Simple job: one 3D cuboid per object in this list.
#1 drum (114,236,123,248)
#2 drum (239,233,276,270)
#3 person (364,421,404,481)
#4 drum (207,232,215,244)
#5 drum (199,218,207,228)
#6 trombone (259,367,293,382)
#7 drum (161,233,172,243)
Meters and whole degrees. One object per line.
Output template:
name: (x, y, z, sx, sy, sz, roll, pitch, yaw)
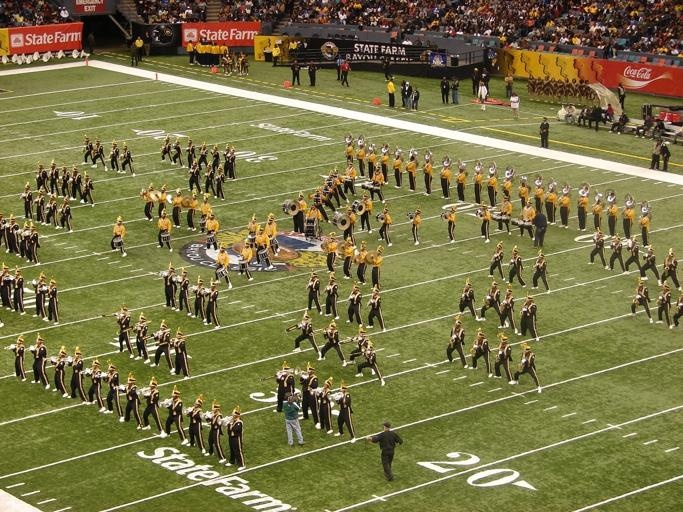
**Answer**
drum: (-7.147, -0.449, 52.362, 0.372, 0.292, 0.331, -1, 3, -13)
drum: (-2.667, -0.100, 51.477, 0.758, 0.938, 0.790, -14, 33, -24)
person: (1.052, 4.748, 41.471, 0.813, 1.473, 1.270, 1, 10, 2)
drum: (-4.196, -0.539, 52.415, 0.336, 0.255, 0.304, -2, 10, -4)
drum: (-4.432, -1.004, 52.687, 0.305, 0.100, 0.241, -31, 43, -11)
trombone: (-1.721, 3.086, 43.228, 0.891, 0.303, 0.447, -9, 8, -8)
drum: (-5.690, -0.575, 52.825, 0.312, 0.233, 0.280, -1, 12, -4)
